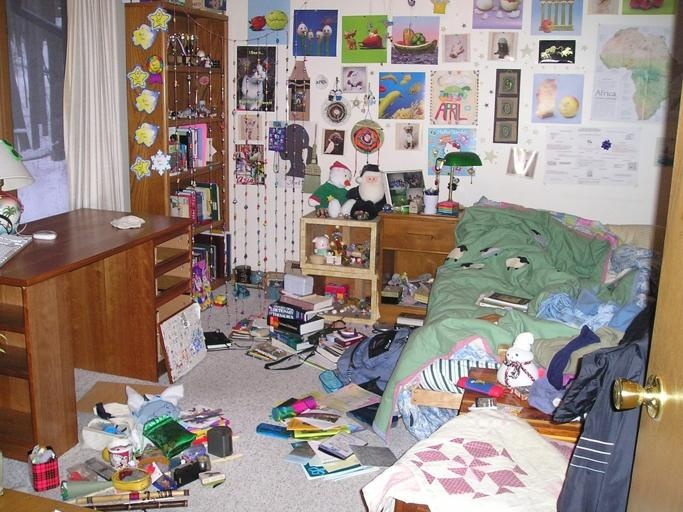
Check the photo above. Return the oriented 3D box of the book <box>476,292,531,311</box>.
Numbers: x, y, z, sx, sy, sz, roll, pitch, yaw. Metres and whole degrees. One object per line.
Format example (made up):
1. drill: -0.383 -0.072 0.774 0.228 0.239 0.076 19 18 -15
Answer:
1. book: 0.968 0.270 3.090 0.308 0.053 0.288 4 14 9

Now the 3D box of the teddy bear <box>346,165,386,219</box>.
1. teddy bear: 0.233 -0.557 4.430 0.346 0.470 0.330 13 14 40

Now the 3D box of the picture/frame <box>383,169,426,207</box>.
1. picture/frame: 0.526 -0.566 4.387 0.348 0.297 0.046 -4 -3 -8

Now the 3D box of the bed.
1. bed: 1.113 0.161 3.267 1.105 0.557 1.752 10 34 19

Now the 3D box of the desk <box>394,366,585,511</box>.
1. desk: 0.607 0.753 2.132 0.355 0.455 0.650 7 4 -32

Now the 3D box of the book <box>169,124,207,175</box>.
1. book: -1.317 -0.908 4.387 0.457 0.432 0.333 12 18 40

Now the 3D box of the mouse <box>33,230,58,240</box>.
1. mouse: -1.680 -0.112 2.936 0.120 0.022 0.063 3 35 8

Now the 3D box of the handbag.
1. handbag: -0.231 0.621 3.773 0.719 0.058 0.214 -26 23 -36

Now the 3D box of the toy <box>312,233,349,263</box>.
1. toy: -0.084 -0.063 4.410 0.237 0.201 0.293 3 4 15
